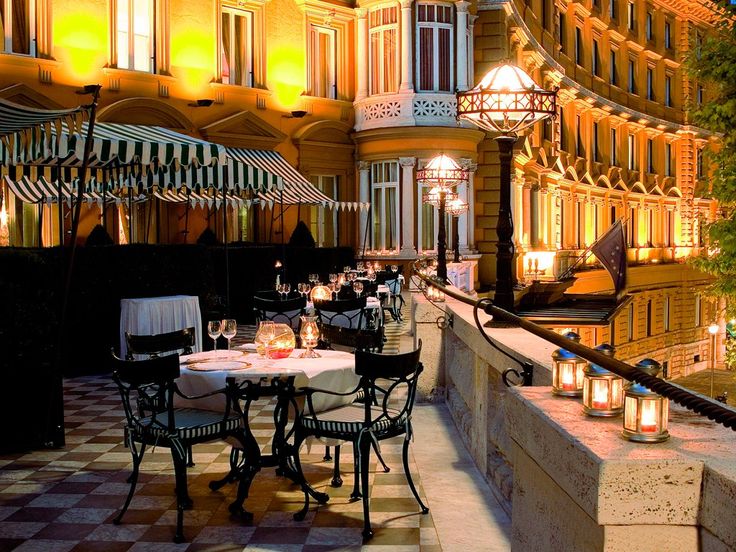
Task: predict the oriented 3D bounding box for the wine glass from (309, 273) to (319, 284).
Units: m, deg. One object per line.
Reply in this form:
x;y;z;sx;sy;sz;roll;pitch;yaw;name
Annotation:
-0.980;0.055;15.277;0.178;0.211;0.188;4;6;25;wine glass

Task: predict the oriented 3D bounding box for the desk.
-2.492;0.604;10.151;0.728;0.702;0.315;1;-5;-36;desk

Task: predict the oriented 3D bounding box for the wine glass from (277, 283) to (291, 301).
-1.317;0.260;13.665;0.211;0.354;0.204;4;4;39;wine glass

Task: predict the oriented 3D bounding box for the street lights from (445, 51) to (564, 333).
1.224;-0.838;7.682;0.833;2.225;0.869;4;9;26;street lights

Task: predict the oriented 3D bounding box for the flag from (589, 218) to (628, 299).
7.161;-0.407;25.849;0.248;2.513;2.237;1;15;27;flag

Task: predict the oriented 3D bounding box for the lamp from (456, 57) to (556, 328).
1.232;-0.786;7.524;0.840;2.180;0.500;-2;9;9;lamp

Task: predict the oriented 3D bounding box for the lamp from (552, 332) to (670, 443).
1.184;0.526;4.154;0.282;0.332;0.724;-7;10;-19;lamp
